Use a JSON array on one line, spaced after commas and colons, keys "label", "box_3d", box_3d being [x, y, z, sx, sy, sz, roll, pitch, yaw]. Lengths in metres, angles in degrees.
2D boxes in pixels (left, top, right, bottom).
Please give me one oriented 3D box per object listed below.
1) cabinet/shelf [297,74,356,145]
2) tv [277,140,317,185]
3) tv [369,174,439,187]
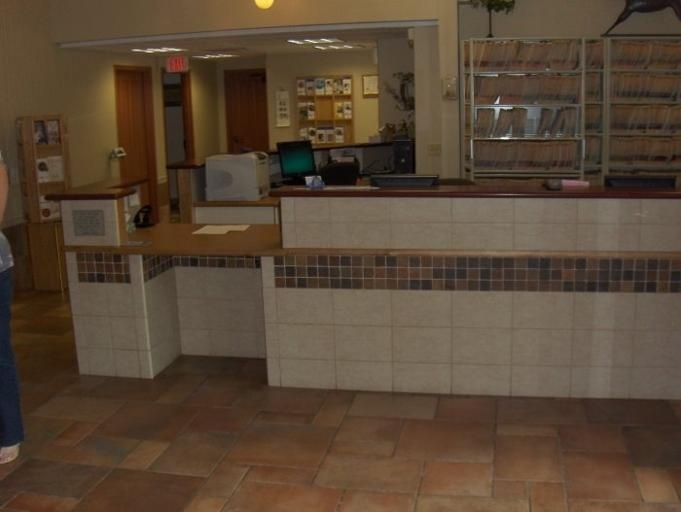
[{"label": "cabinet/shelf", "box_3d": [-0.300, -3.009, 12.096, 1.161, 1.357, 0.352, -3, 14, -2]}, {"label": "tv", "box_3d": [-0.582, -1.304, 8.118, 0.343, 0.564, 0.625, 9, 17, 40]}, {"label": "tv", "box_3d": [0.493, -0.575, 4.500, 0.500, 0.097, 0.120, -2, 13, 1]}]
